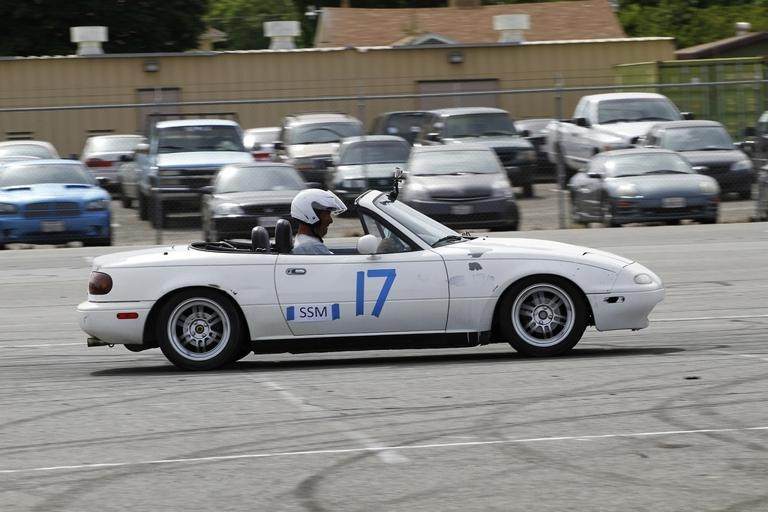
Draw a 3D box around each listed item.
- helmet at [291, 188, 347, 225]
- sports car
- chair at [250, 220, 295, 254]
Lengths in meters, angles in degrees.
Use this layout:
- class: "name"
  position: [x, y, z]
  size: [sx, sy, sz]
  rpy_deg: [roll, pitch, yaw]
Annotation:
- class: "helmet"
  position: [-0.773, -0.561, 12.659]
  size: [0.673, 0.244, 0.361]
  rpy_deg: [-3, 5, -6]
- class: "sports car"
  position: [-0.272, 0.212, 12.836]
  size: [6.233, 1.212, 2.080]
  rpy_deg: [-3, 4, -3]
- class: "chair"
  position: [-1.236, -0.194, 12.535]
  size: [0.559, 0.355, 0.335]
  rpy_deg: [4, -3, 12]
